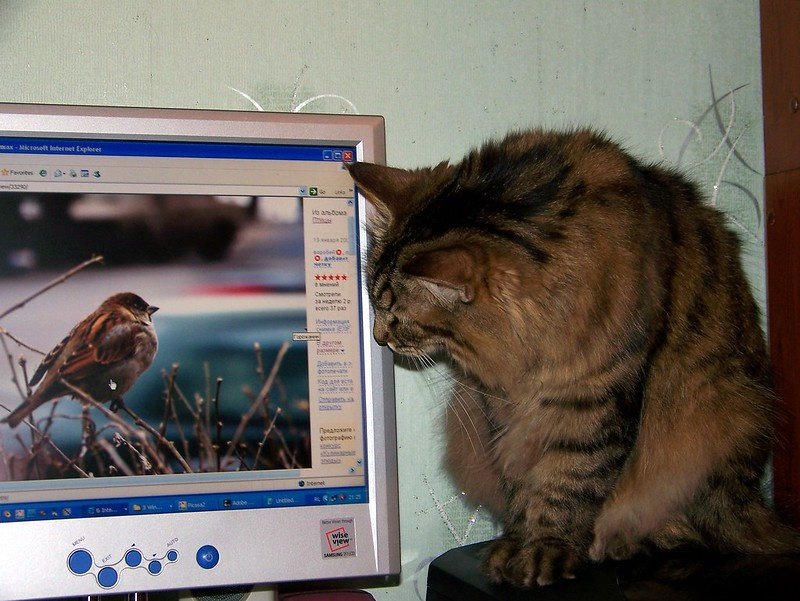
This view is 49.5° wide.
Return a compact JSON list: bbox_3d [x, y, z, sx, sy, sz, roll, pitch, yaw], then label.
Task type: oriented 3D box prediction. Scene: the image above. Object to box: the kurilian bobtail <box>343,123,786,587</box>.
[{"bbox_3d":[0.298,0.036,1.647,0.799,0.712,0.544,-4,15,-13],"label":"kurilian bobtail"}]
